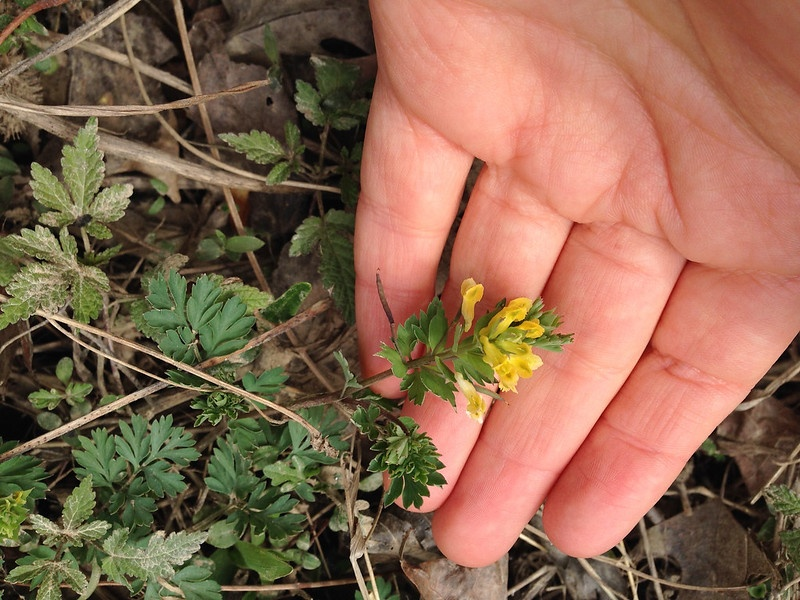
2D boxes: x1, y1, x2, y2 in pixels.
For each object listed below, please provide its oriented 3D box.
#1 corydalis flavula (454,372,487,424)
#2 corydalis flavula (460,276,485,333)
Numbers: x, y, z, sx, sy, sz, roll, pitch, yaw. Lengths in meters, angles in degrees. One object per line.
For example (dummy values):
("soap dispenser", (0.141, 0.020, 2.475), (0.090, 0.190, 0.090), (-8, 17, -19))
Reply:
("corydalis flavula", (0.387, 0.531, 3.966), (0.096, 0.155, 0.334), (35, 23, -41))
("corydalis flavula", (0.392, 0.038, 3.920), (0.126, 0.095, 0.370), (17, 38, -3))
